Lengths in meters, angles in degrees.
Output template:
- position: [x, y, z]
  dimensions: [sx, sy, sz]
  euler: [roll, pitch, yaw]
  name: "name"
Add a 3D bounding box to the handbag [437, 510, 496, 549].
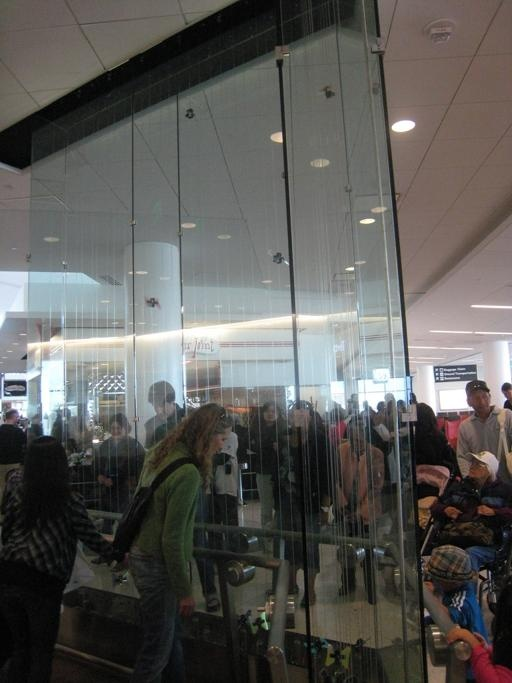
- position: [1.298, 1.123, 3.566]
  dimensions: [0.381, 0.169, 0.359]
  euler: [-10, 5, 30]
  name: "handbag"
